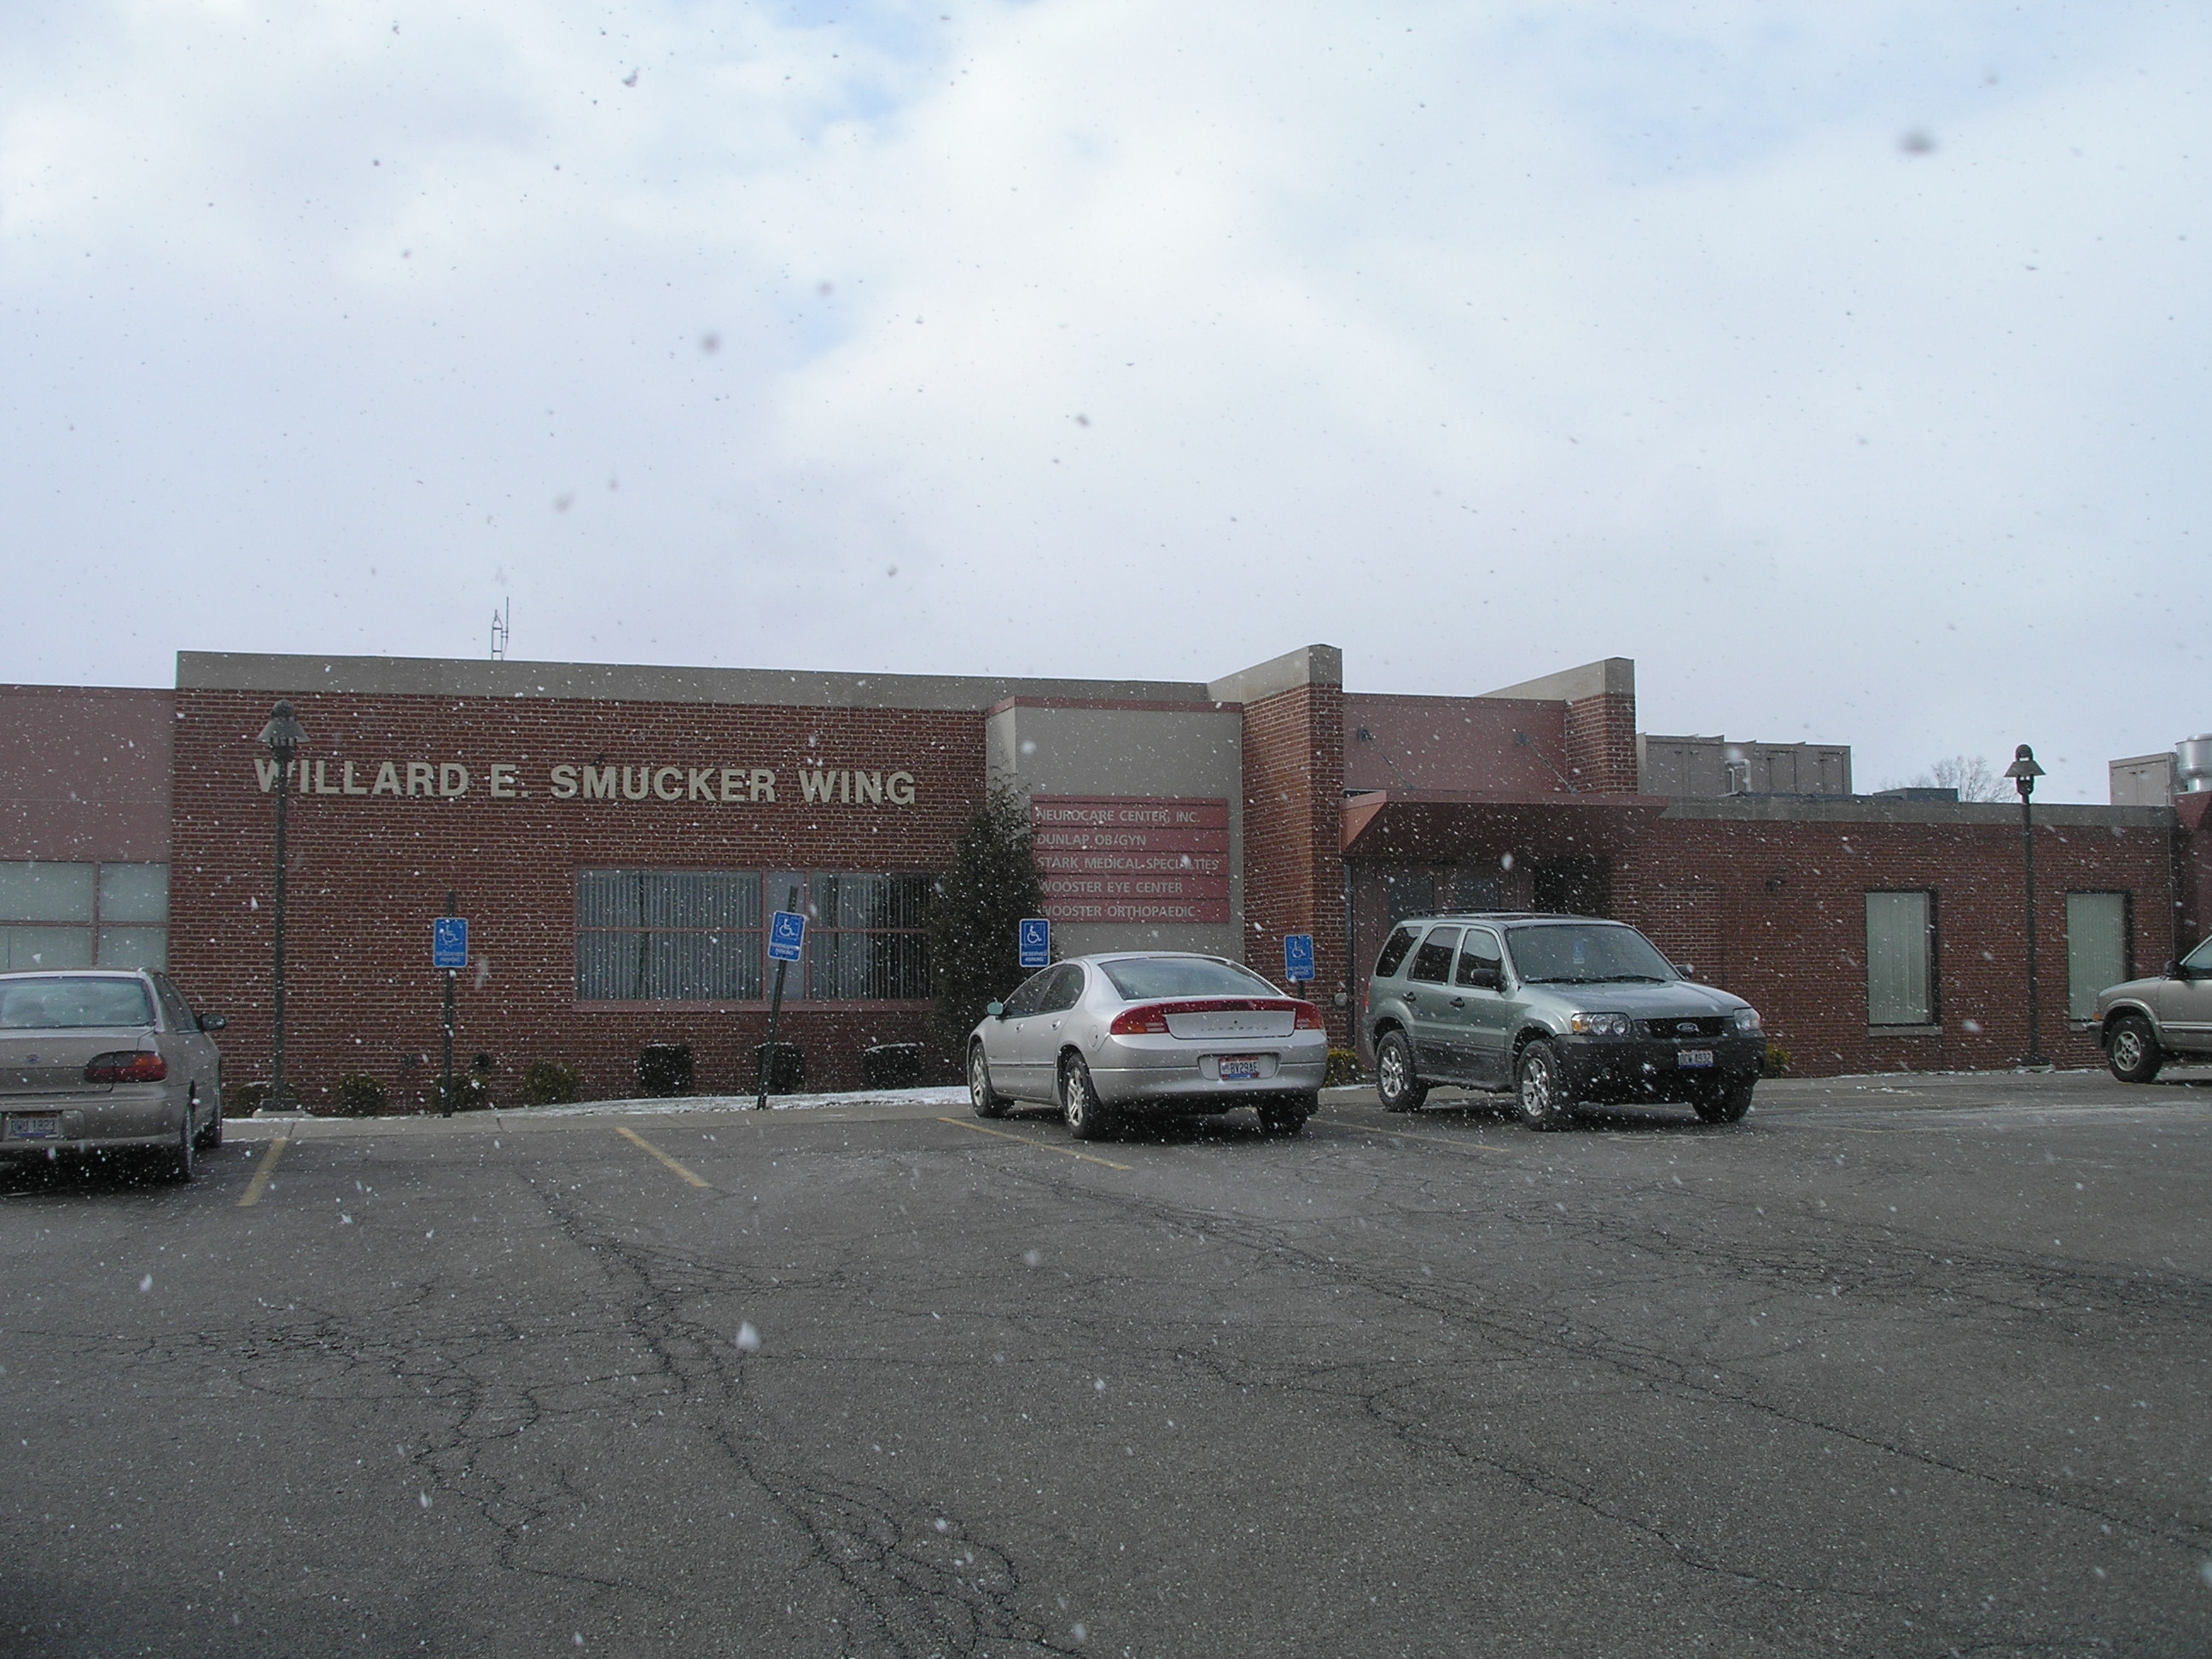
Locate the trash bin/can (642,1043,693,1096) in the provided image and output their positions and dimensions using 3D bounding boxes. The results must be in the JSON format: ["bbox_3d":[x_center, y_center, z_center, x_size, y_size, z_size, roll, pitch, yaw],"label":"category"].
[{"bbox_3d":[-6.795,3.693,30.692,0.926,0.693,0.500,-4,-5,36],"label":"trash bin/can"}]

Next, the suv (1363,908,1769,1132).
[{"bbox_3d":[4.196,1.798,19.224,2.133,1.958,4.451,1,-5,-26],"label":"suv"}]
